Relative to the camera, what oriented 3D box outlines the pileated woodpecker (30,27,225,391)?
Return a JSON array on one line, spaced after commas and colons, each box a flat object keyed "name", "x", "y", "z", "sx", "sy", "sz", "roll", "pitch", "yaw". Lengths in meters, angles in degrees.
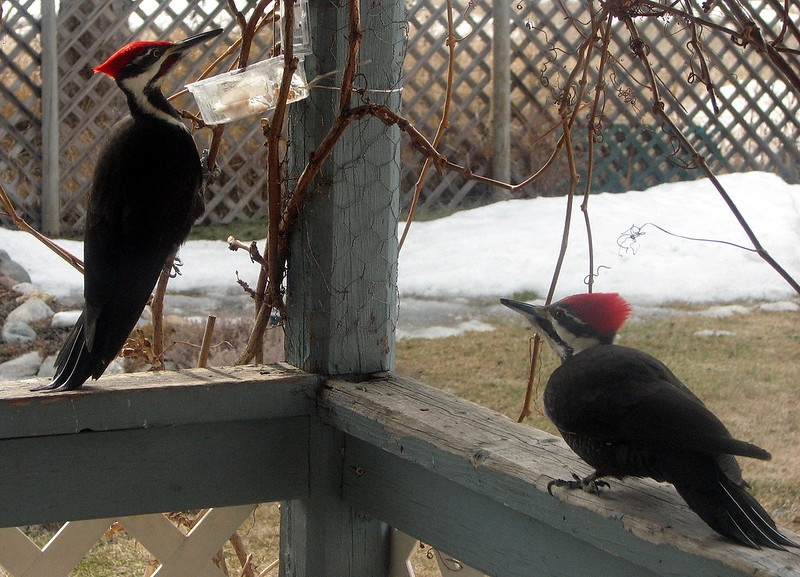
[{"name": "pileated woodpecker", "x": -0.765, "y": -0.230, "z": 3.232, "sx": 0.451, "sy": 1.002, "sz": 0.304, "roll": 2, "pitch": 12, "yaw": -19}]
